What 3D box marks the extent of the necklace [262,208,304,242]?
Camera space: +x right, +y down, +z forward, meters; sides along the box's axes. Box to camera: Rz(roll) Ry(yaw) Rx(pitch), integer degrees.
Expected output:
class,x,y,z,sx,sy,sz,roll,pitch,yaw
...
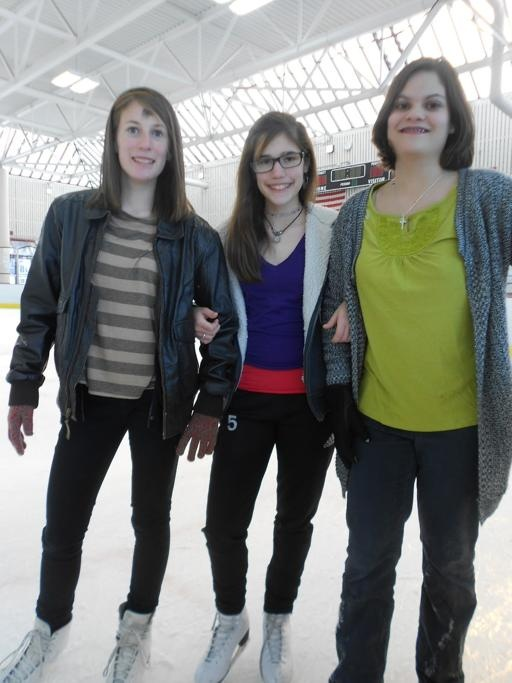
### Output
class,x,y,z,sx,sy,sz,roll,pitch,yaw
necklace,0.084,-0.381,1.839,0.103,0.105,0.026,11,0,22
